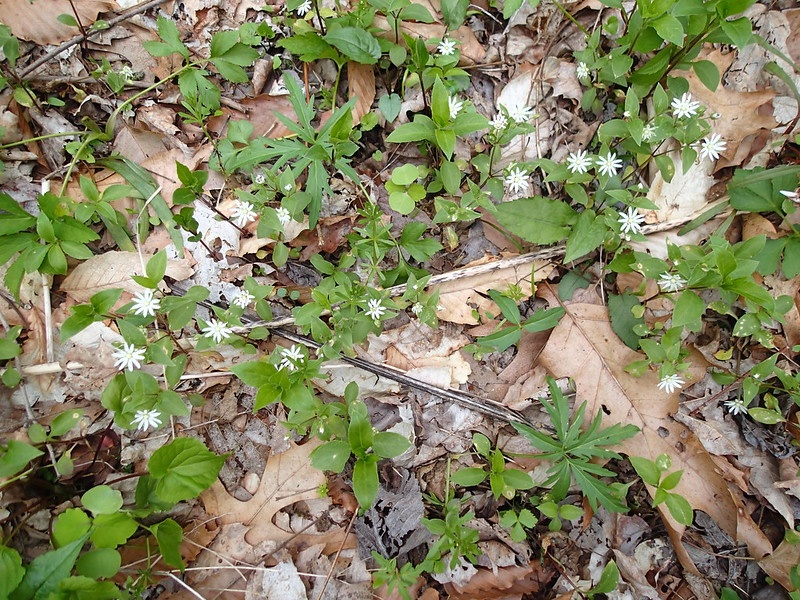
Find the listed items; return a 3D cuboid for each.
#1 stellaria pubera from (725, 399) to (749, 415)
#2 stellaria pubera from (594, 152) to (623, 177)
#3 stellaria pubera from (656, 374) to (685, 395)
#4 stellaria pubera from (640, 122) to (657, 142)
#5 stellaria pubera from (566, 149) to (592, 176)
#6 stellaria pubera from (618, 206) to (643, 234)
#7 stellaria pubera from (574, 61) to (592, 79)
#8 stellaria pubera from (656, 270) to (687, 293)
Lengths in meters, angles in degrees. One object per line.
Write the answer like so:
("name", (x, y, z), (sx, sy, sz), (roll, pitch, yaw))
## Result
("stellaria pubera", (2.479, 0.799, 4.854), (0.032, 0.119, 0.135), (-23, 108, -43))
("stellaria pubera", (1.457, -0.940, 4.647), (0.183, 0.053, 0.205), (-7, 90, 10))
("stellaria pubera", (1.930, 0.599, 4.654), (0.154, 0.043, 0.181), (3, 111, -17))
("stellaria pubera", (1.697, -1.150, 4.490), (0.098, 0.046, 0.110), (7, 81, 0))
("stellaria pubera", (1.261, -0.959, 4.614), (0.164, 0.092, 0.155), (-34, 83, -6))
("stellaria pubera", (1.609, -0.555, 4.602), (0.168, 0.140, 0.178), (7, 81, 1))
("stellaria pubera", (1.331, -1.647, 4.772), (0.117, 0.034, 0.136), (-3, 61, 12))
("stellaria pubera", (1.857, -0.109, 4.576), (0.175, 0.308, 0.128), (-8, 80, -2))
